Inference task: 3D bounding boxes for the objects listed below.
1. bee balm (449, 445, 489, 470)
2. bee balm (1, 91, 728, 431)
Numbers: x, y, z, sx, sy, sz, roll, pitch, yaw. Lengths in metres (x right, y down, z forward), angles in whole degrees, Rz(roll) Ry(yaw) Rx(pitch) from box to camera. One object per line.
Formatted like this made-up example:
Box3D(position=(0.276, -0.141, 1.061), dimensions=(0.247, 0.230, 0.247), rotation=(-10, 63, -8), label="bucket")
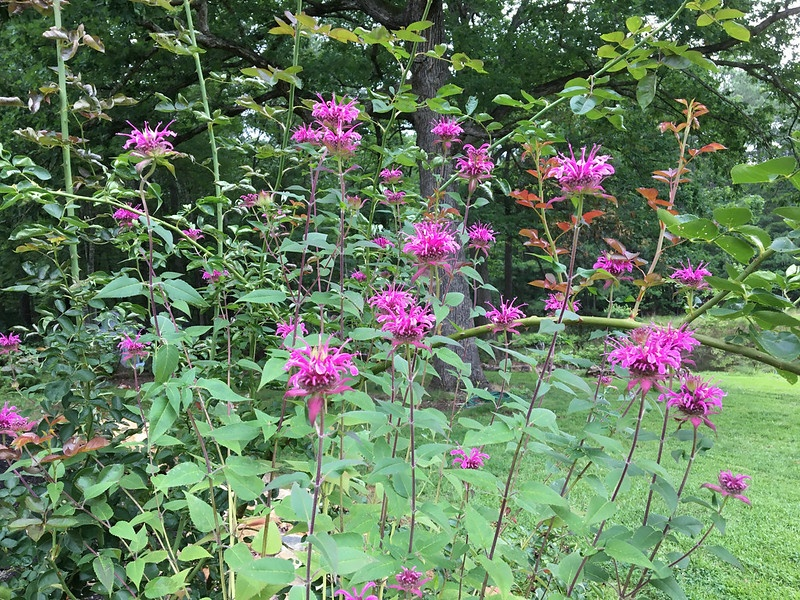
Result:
Box3D(position=(0.361, 0.857, 4.127), dimensions=(0.241, 0.090, 0.233), rotation=(4, -5, -27), label="bee balm")
Box3D(position=(-0.558, -0.229, 4.387), dimensions=(2.285, 1.334, 2.777), rotation=(0, 11, -15), label="bee balm")
